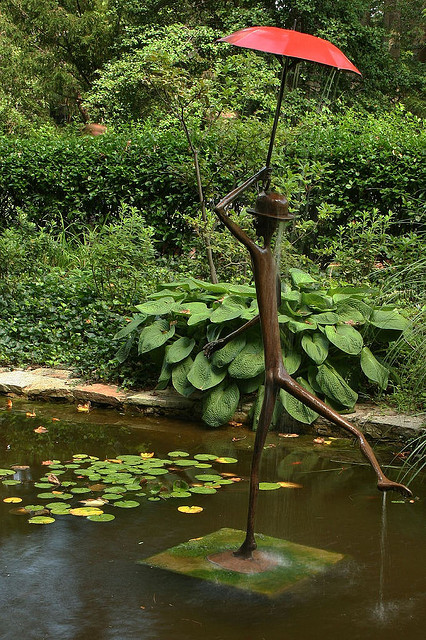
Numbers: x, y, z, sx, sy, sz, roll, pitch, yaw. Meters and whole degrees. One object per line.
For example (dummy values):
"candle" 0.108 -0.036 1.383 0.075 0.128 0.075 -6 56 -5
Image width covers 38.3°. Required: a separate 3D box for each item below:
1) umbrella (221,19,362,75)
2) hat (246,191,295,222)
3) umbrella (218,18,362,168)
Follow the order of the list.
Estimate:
"umbrella" 0.241 -0.767 1.770 0.268 0.113 0.265 17 5 29
"hat" 0.170 -0.341 1.828 0.135 0.093 0.114 2 3 1
"umbrella" 0.197 -0.661 1.956 0.491 0.471 0.433 9 29 -4
